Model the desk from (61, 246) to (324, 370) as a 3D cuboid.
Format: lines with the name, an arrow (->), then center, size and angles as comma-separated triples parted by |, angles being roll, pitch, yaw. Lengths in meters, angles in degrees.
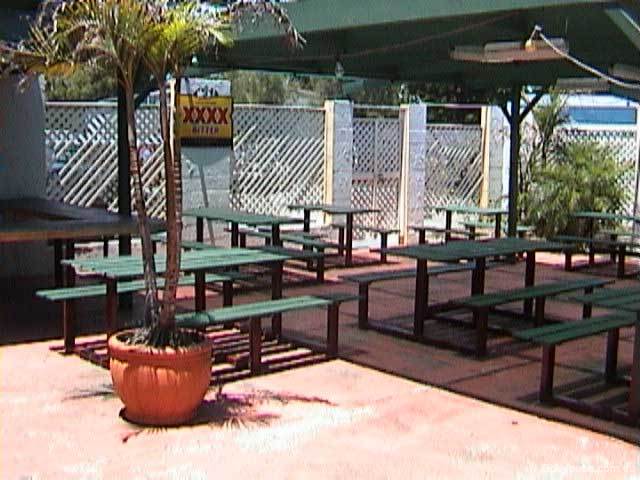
desk -> -0.958, 0.445, 7.220 | 1.365, 0.689, 1.434 | -5, 13, -40

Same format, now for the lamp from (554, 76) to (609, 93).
lamp -> 3.791, -2.269, 11.352 | 0.673, 0.206, 1.688 | 4, 13, 15

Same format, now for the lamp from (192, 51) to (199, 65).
lamp -> -1.554, -2.232, 9.693 | 0.066, 0.172, 0.093 | 11, 35, 14

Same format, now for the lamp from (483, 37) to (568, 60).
lamp -> 2.048, -1.913, 7.854 | 0.555, 0.189, 0.711 | -7, 14, -30
